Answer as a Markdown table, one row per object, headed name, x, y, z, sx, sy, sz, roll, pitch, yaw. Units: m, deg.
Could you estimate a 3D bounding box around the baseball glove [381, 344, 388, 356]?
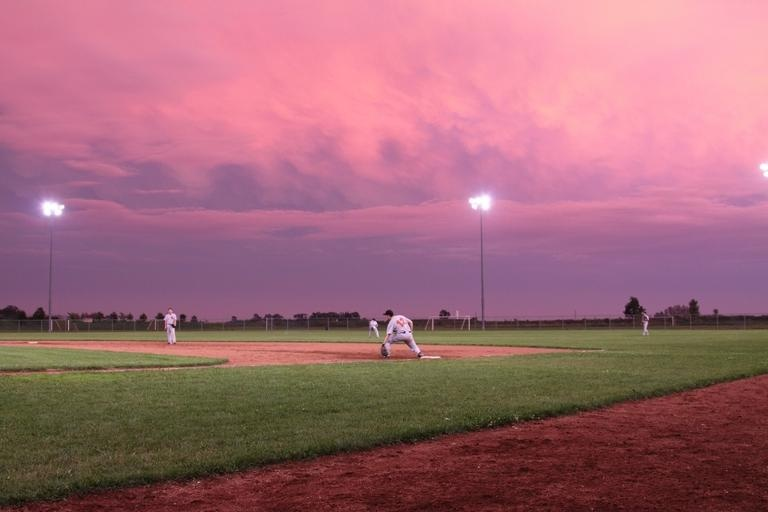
| name | x | y | z | sx | sy | sz | roll | pitch | yaw |
| --- | --- | --- | --- | --- | --- | --- | --- | --- | --- |
| baseball glove | 0.042 | 2.835 | 25.394 | 0.183 | 0.359 | 0.390 | -1 | 0 | 0 |
